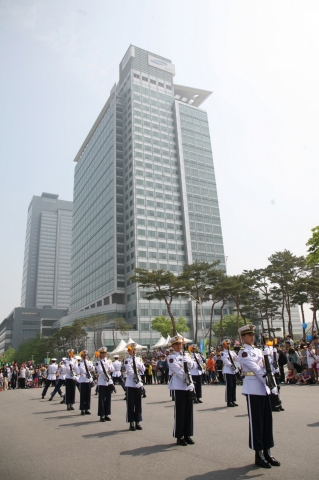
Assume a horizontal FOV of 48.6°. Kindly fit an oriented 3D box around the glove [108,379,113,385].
[{"bbox_3d":[-1.458,4.196,10.404,0.122,0.170,0.365,3,-21,-16],"label":"glove"}]

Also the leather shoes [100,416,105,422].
[{"bbox_3d":[-1.649,5.181,10.152,0.082,0.162,0.222,21,-37,-32],"label":"leather shoes"}]

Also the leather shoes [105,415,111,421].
[{"bbox_3d":[-1.476,5.197,10.295,0.221,0.162,0.094,0,-15,-16],"label":"leather shoes"}]

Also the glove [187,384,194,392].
[{"bbox_3d":[0.596,2.879,6.873,0.121,0.110,0.142,1,-16,-13],"label":"glove"}]

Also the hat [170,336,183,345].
[{"bbox_3d":[0.351,2.059,7.417,0.234,0.146,0.265,-1,-31,-20],"label":"hat"}]

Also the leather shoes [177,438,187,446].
[{"bbox_3d":[0.420,3.777,6.601,0.184,0.116,0.280,-2,-11,-5],"label":"leather shoes"}]

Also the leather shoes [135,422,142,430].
[{"bbox_3d":[-0.481,4.537,8.575,0.192,0.189,0.098,-6,-20,9],"label":"leather shoes"}]

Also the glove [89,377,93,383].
[{"bbox_3d":[-2.344,4.767,11.984,0.118,0.171,0.059,-3,-22,-14],"label":"glove"}]

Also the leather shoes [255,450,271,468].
[{"bbox_3d":[1.468,3.150,5.060,0.204,0.168,0.329,-5,-11,9],"label":"leather shoes"}]

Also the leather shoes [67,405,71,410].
[{"bbox_3d":[-3.524,6.511,13.719,0.081,0.190,0.177,-6,26,-5],"label":"leather shoes"}]

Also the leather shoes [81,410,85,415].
[{"bbox_3d":[-2.603,5.868,11.985,0.135,0.139,0.137,4,-21,-7],"label":"leather shoes"}]

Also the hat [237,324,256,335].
[{"bbox_3d":[1.507,1.565,6.150,0.282,0.165,0.361,-5,-11,10],"label":"hat"}]
